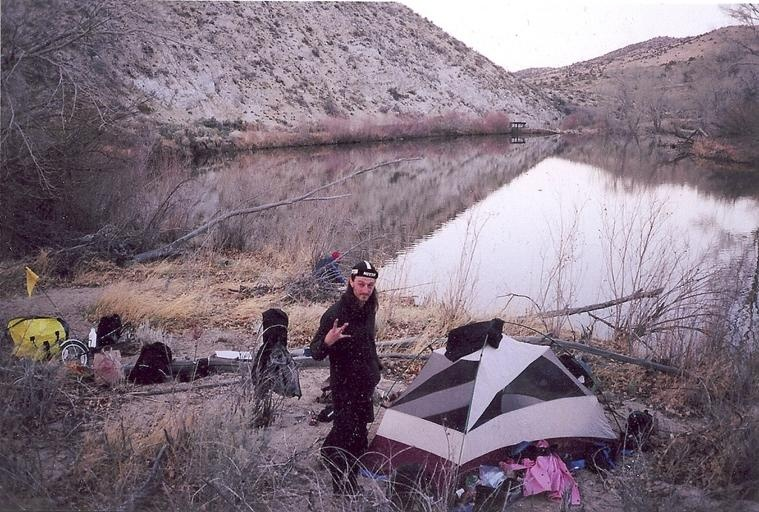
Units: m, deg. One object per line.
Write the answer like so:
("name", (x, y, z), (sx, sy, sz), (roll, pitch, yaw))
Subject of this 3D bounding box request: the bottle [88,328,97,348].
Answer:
("bottle", (-5.079, 1.428, 10.953), (0.130, 0.270, 0.444), (5, 4, -27))

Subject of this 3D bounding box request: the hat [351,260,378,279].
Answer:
("hat", (-0.219, 0.189, 8.563), (0.336, 0.188, 0.296), (7, 3, -4))

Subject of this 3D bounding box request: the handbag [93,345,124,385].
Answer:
("handbag", (-4.650, 1.855, 10.605), (0.497, 0.989, 0.672), (-1, 2, -24))

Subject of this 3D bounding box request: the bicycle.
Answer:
("bicycle", (-4.920, 1.491, 10.892), (0.540, 0.720, 1.141), (-2, 7, 38))

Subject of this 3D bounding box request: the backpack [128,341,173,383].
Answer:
("backpack", (-3.811, 1.858, 10.521), (0.557, 0.780, 0.340), (27, -15, 7))

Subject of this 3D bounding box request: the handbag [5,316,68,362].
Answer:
("handbag", (-5.808, 1.373, 10.465), (0.956, 0.637, 0.604), (7, 3, -16))

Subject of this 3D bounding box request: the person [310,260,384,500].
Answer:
("person", (-0.450, 1.638, 8.495), (0.891, 2.389, 0.479), (6, 3, -5))

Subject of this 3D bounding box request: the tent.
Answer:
("tent", (1.528, 2.191, 9.142), (2.557, 1.581, 2.497), (-18, 4, -37))
